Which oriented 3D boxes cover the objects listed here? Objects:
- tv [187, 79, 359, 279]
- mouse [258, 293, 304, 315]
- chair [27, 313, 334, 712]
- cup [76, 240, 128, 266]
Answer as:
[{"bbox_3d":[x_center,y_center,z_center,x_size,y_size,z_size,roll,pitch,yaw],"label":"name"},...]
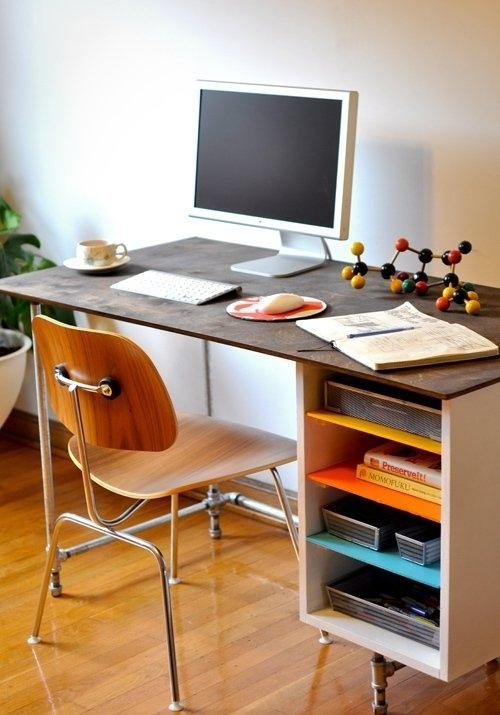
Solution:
[{"bbox_3d":[0.061,-0.413,1.452,0.493,0.414,0.210,17,30,41],"label":"tv"},{"bbox_3d":[0.048,-0.105,1.144,0.061,0.019,0.043,-20,27,-36],"label":"mouse"},{"bbox_3d":[-0.139,0.367,1.389,0.529,0.759,0.574,18,29,41],"label":"chair"},{"bbox_3d":[-0.357,-0.257,1.564,0.116,0.053,0.084,-5,14,-43],"label":"cup"}]
